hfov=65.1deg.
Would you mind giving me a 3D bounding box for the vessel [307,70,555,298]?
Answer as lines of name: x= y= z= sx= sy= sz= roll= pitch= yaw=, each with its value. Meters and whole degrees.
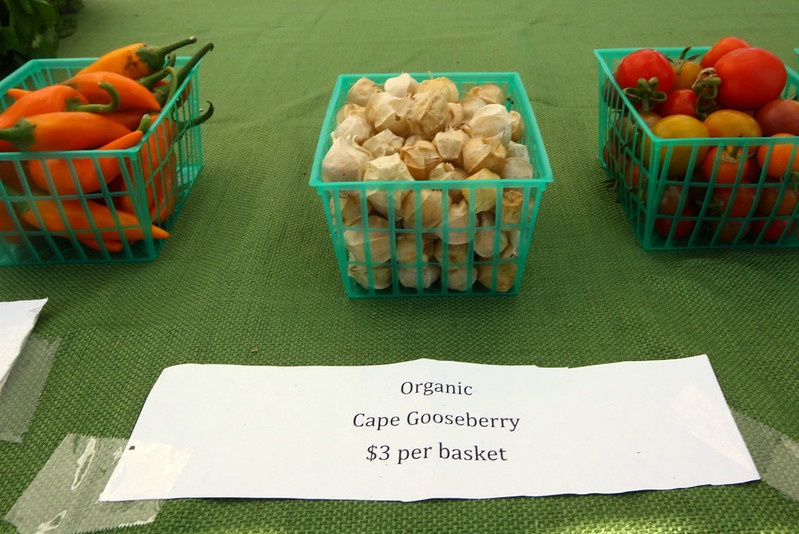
vessel: x=0.053 y=-0.100 z=1.087 sx=0.373 sy=0.247 sz=0.386 roll=0 pitch=49 yaw=0
